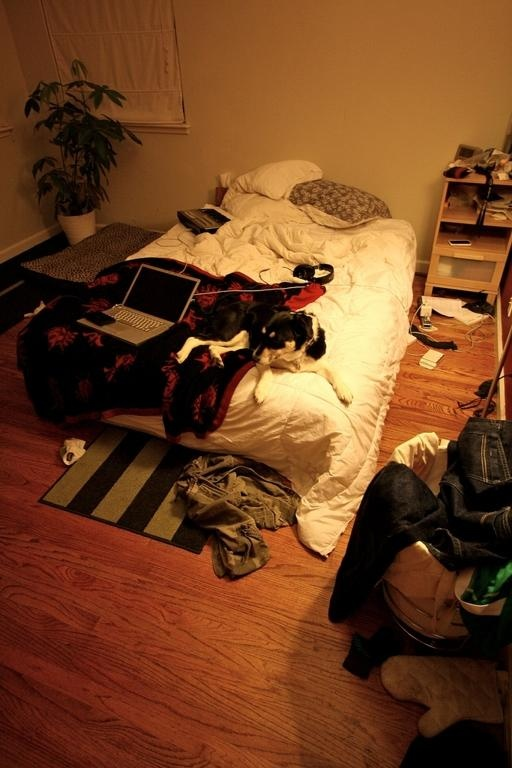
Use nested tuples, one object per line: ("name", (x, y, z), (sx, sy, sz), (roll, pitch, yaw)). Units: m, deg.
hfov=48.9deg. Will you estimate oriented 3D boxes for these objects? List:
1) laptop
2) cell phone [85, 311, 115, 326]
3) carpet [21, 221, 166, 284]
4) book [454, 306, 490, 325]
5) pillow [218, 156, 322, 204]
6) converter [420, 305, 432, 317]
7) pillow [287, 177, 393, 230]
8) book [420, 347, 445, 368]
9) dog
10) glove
("laptop", (-0.449, -0.329, 2.366), (0.392, 0.168, 0.413), (27, 41, 25))
("cell phone", (-0.652, -0.279, 2.357), (0.105, 0.025, 0.071), (18, 31, 25))
("carpet", (-1.010, -0.857, 3.600), (0.537, 0.147, 0.631), (21, 46, 26))
("book", (1.199, -0.382, 3.189), (0.119, 0.036, 0.117), (-31, 47, -31))
("pillow", (0.078, -1.235, 3.415), (0.388, 0.142, 0.484), (17, 39, 36))
("converter", (0.965, -0.415, 3.203), (0.068, 0.066, 0.036), (6, -1, 7))
("pillow", (0.459, -1.049, 3.210), (0.411, 0.109, 0.372), (24, 28, 7))
("book", (0.883, -0.128, 2.850), (0.082, 0.028, 0.118), (12, 48, 29))
("dog", (0.043, -0.157, 2.038), (0.690, 0.243, 0.290), (18, 42, 23))
("glove", (0.509, 0.812, 1.497), (0.318, 0.068, 0.205), (-6, 38, -7))
